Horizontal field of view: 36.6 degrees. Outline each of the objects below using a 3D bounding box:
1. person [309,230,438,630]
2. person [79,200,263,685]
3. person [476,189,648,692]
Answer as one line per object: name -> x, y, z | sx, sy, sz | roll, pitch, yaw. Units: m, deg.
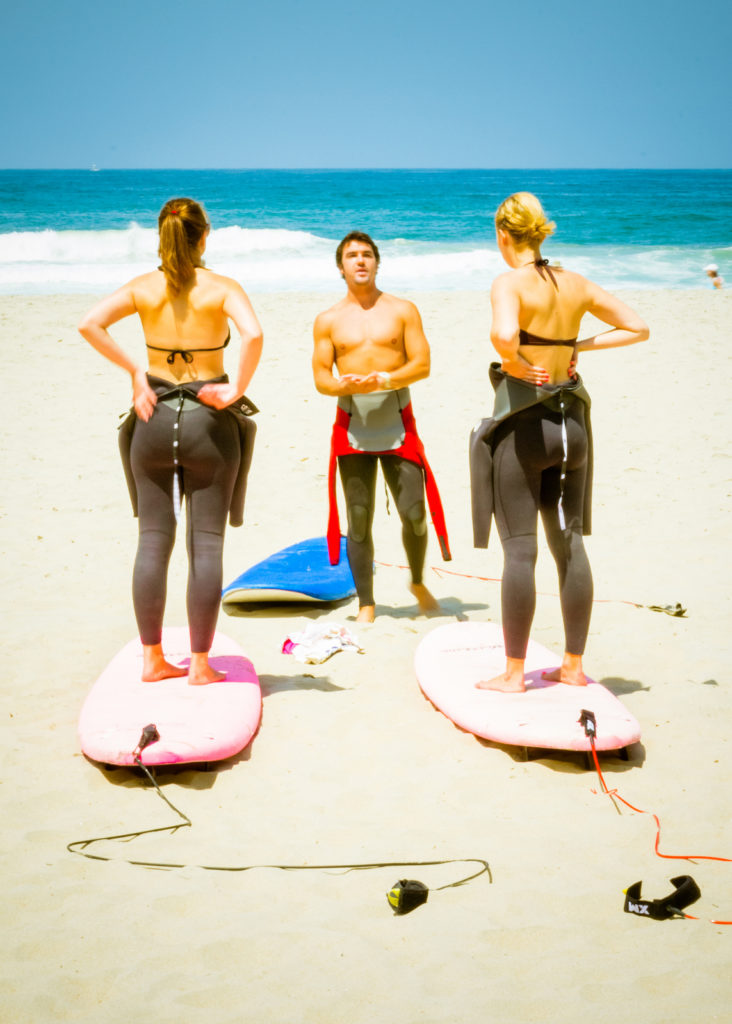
person -> 0.059, -0.378, 5.006 | 0.582, 1.767, 0.506 | -2, 9, -4
person -> -0.678, -0.223, 3.933 | 0.614, 1.745, 0.372 | -2, 9, -7
person -> 0.667, -0.221, 3.917 | 0.554, 1.779, 0.337 | -3, 9, -12
